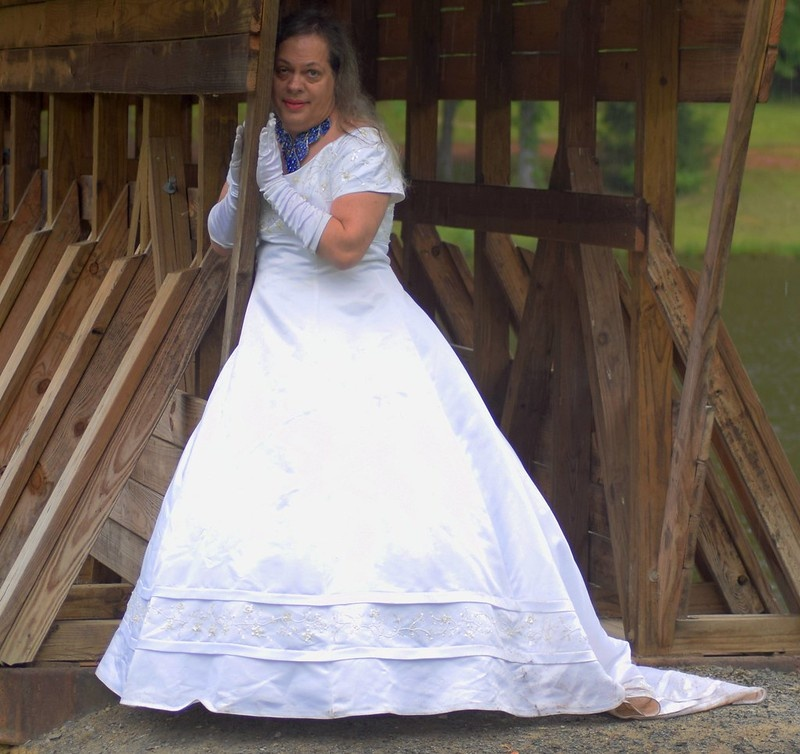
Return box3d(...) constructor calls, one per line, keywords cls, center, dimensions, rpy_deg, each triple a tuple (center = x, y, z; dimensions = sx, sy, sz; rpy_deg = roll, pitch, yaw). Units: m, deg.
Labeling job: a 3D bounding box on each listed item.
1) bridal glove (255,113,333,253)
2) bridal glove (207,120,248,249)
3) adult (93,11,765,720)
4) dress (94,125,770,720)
box3d(cls="bridal glove", center=(-0.367, -0.600, 5.402), dimensions=(0.141, 0.642, 0.156), rpy_deg=(-9, -22, -6))
box3d(cls="bridal glove", center=(-0.577, -0.658, 5.654), dimensions=(0.065, 0.411, 0.090), rpy_deg=(0, 9, -32))
box3d(cls="adult", center=(-0.055, -0.141, 5.605), dimensions=(1.630, 2.155, 1.332), rpy_deg=(3, 9, 38))
box3d(cls="dress", center=(-0.088, 0.036, 5.834), dimensions=(1.970, 2.607, 1.711), rpy_deg=(-16, -20, 38))
